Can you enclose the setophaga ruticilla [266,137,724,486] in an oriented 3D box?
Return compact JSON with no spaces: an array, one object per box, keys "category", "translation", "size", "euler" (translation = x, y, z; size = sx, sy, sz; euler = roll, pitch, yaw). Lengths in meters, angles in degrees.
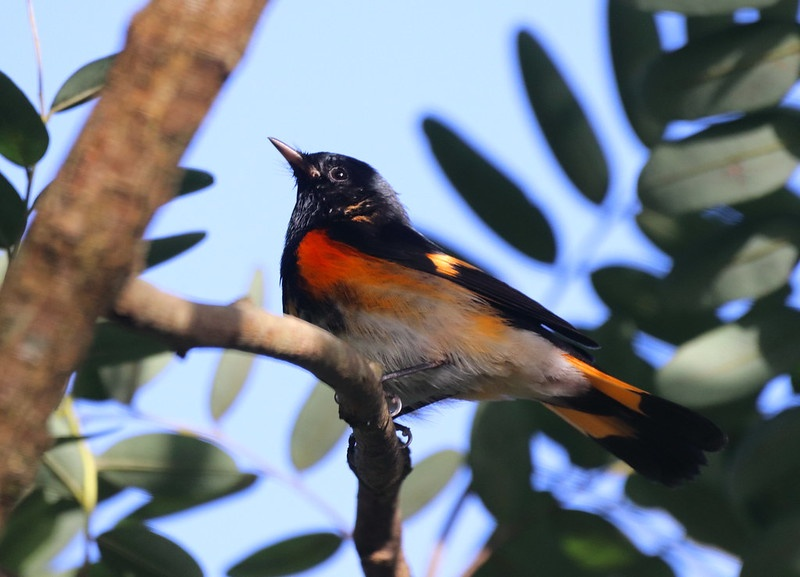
[{"category":"setophaga ruticilla","translation":[0.315,0.155,5.157],"size":[0.585,2.341,1.154],"euler":[124,161,-61]}]
